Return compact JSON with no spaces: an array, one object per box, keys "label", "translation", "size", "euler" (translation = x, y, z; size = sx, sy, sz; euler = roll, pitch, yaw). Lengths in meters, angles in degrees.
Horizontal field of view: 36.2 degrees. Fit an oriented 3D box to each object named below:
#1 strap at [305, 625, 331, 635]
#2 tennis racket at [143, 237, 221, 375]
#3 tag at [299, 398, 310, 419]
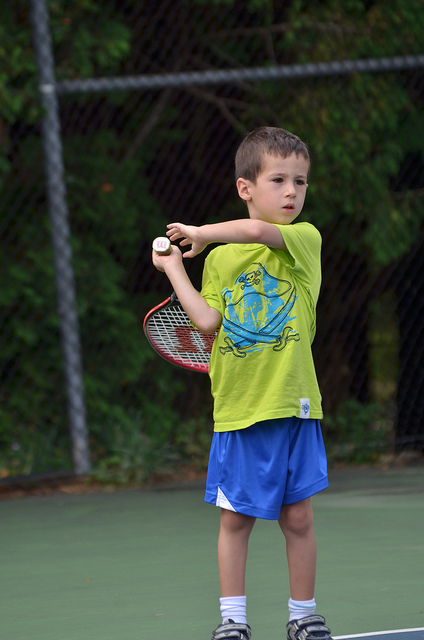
[{"label":"strap","translation":[0.226,0.637,1.338],"size":[0.035,0.009,0.024],"euler":[4,8,-8]},{"label":"tennis racket","translation":[-0.085,-0.021,1.592],"size":[0.245,0.364,0.077],"euler":[14,42,29]},{"label":"tag","translation":[0.197,0.187,1.372],"size":[0.010,0.043,0.041],"euler":[-3,-5,30]}]
